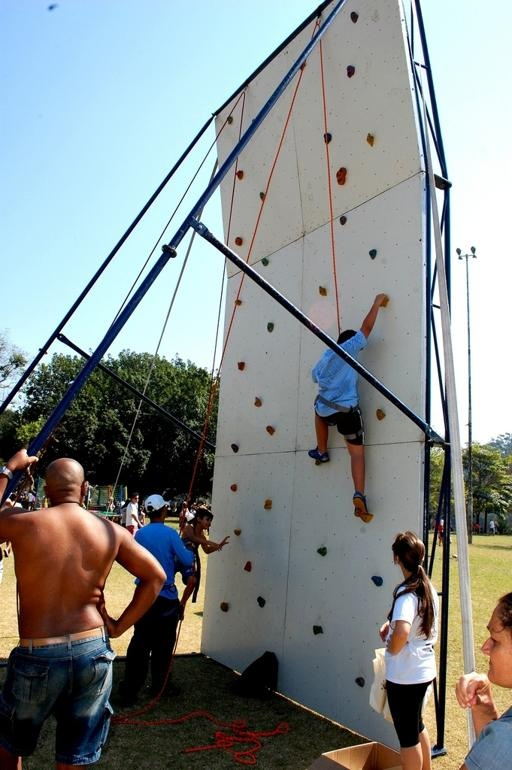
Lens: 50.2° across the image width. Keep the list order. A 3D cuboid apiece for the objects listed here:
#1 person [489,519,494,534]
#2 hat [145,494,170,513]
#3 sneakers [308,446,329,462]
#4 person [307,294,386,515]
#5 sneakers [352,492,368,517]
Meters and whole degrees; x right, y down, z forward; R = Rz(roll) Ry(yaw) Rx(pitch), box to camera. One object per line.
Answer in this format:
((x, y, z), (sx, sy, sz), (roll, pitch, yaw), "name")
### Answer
((13.793, 8.299, 31.773), (0.217, 0.836, 1.776), (-2, -13, 25), "person")
((-0.808, 0.948, 4.395), (0.112, 0.096, 0.178), (-7, 24, 19), "hat")
((0.514, 0.583, 4.502), (0.074, 0.102, 0.215), (-7, 14, -13), "sneakers")
((0.643, 0.169, 4.176), (0.415, 1.696, 0.732), (6, -11, -20), "person")
((0.750, 0.852, 3.909), (0.082, 0.209, 0.087), (2, 28, 30), "sneakers")
